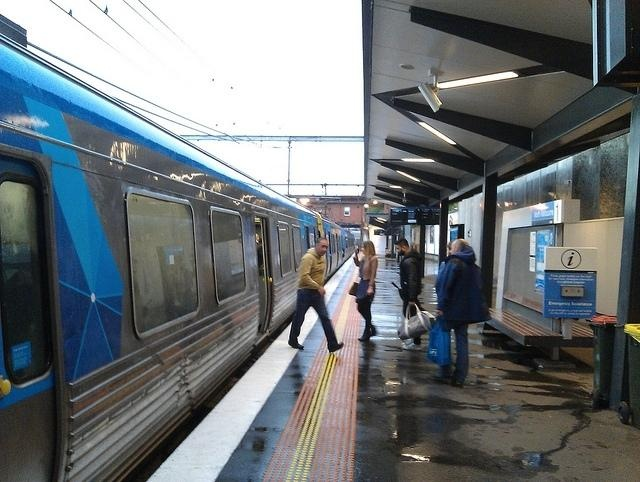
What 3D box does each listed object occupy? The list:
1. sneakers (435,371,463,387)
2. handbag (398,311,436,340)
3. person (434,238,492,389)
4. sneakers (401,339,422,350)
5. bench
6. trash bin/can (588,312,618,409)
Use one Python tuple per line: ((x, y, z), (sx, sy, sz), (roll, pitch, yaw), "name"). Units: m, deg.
((1.800, 1.926, 6.379), (0.128, 0.174, 0.384), (7, 3, -31), "sneakers")
((1.514, 1.321, 7.193), (0.500, 0.354, 0.645), (2, 1, 17), "handbag")
((1.951, 0.965, 6.329), (0.685, 1.618, 0.499), (1, 1, 7), "person")
((1.690, 1.870, 8.250), (0.425, 0.206, 0.160), (3, 1, 11), "sneakers")
((3.879, 1.668, 7.933), (1.414, 0.732, 1.959), (2, 1, 7), "bench")
((3.377, 1.440, 5.476), (0.264, 1.121, 0.348), (2, 1, 30), "trash bin/can")
